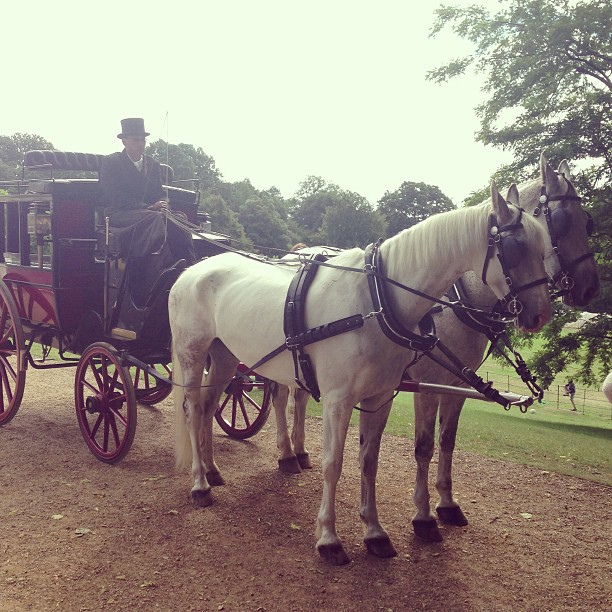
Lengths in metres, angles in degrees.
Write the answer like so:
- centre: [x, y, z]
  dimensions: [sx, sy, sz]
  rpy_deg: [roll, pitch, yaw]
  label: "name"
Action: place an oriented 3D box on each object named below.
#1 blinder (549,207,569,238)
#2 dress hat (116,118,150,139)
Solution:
- centre: [2.062, -0.664, 5.532]
  dimensions: [0.149, 0.231, 0.055]
  rpy_deg: [5, 7, 19]
  label: "blinder"
- centre: [-1.912, -1.939, 7.528]
  dimensions: [0.311, 0.211, 0.230]
  rpy_deg: [0, 7, -17]
  label: "dress hat"
